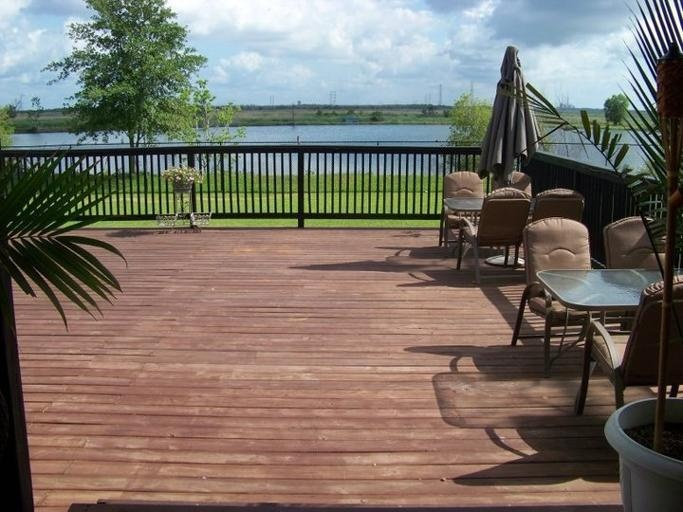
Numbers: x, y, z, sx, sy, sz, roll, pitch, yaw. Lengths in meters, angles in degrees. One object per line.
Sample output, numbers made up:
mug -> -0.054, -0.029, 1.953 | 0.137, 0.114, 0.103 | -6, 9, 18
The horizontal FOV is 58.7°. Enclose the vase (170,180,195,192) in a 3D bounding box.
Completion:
vase -> -2.211, -0.975, 8.464 | 0.251, 0.184, 0.264 | -5, 10, -17

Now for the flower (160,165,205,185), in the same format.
flower -> -2.169, -1.114, 8.494 | 0.388, 0.187, 0.387 | 4, 5, 1
